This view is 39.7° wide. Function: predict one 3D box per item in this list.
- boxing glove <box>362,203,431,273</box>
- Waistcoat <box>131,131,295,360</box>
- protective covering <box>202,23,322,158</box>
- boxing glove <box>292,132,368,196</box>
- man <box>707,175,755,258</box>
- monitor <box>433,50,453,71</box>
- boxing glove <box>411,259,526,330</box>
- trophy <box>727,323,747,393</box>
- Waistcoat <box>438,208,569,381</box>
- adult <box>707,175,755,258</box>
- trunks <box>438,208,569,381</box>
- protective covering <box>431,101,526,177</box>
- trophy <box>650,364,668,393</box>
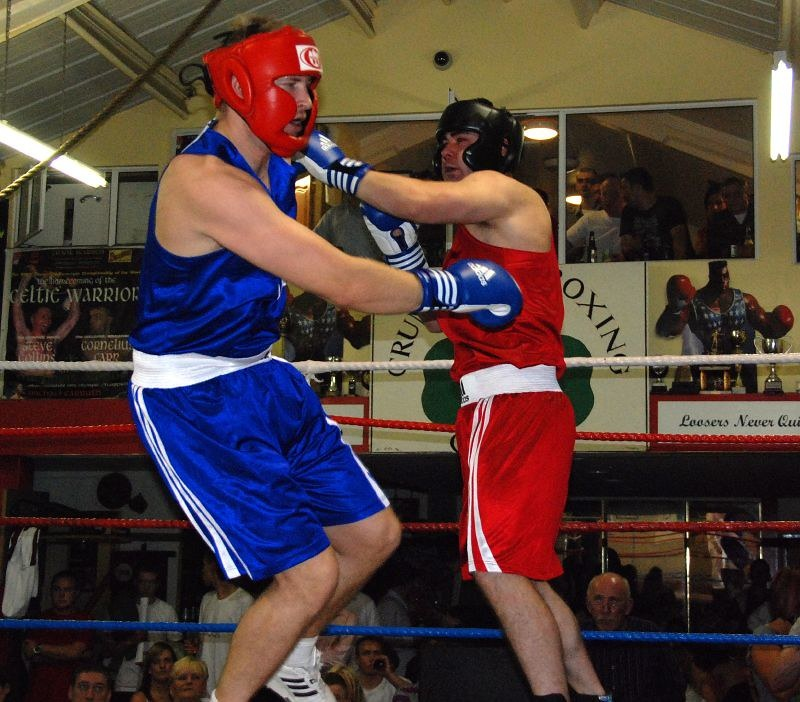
[{"bbox_3d":[-0.020,-0.441,4.226,0.236,0.315,0.126,-11,40,27],"label":"boxing glove"},{"bbox_3d":[-0.780,-0.283,3.748,0.522,0.637,0.586,-6,3,-29],"label":"Waistcoat"},{"bbox_3d":[-0.532,-0.878,3.708,0.495,0.350,0.365,8,15,16],"label":"protective covering"},{"bbox_3d":[-0.217,-0.652,3.902,0.192,0.278,0.126,-41,-31,17],"label":"boxing glove"},{"bbox_3d":[2.574,-1.041,8.590,0.345,0.649,0.134,2,-4,11],"label":"man"},{"bbox_3d":[0.356,-2.432,9.228,0.214,0.141,0.052,-2,1,3],"label":"monitor"},{"bbox_3d":[0.210,-0.225,3.636,0.437,0.105,0.187,-11,7,12],"label":"boxing glove"},{"bbox_3d":[2.526,0.060,8.292,0.113,0.482,0.192,2,-4,8],"label":"trophy"},{"bbox_3d":[0.387,-0.184,3.950,0.731,0.473,0.255,5,6,9],"label":"Waistcoat"},{"bbox_3d":[2.574,-1.041,8.590,0.345,0.649,0.134,2,-4,11],"label":"adult"},{"bbox_3d":[0.386,-0.172,3.937,0.731,0.473,0.255,5,6,9],"label":"trunks"},{"bbox_3d":[0.274,-0.793,4.172,0.286,0.215,0.316,-1,-3,32],"label":"protective covering"},{"bbox_3d":[1.930,0.218,8.249,0.147,0.201,0.161,2,-3,7],"label":"trophy"}]
